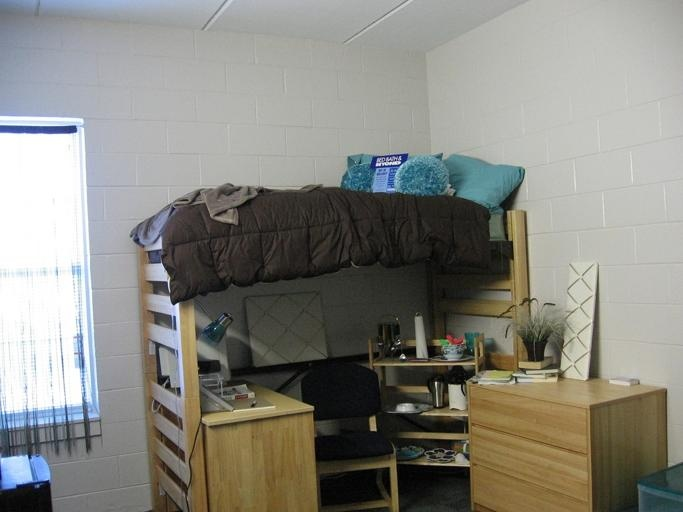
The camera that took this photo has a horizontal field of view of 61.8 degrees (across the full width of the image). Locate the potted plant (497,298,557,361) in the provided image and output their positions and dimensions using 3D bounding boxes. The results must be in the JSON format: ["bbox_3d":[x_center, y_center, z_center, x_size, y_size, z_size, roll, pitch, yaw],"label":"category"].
[{"bbox_3d":[1.238,0.460,3.694,0.356,0.295,0.348,3,-5,-7],"label":"potted plant"}]

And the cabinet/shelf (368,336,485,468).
[{"bbox_3d":[0.600,1.026,4.008,1.045,1.142,0.388,-1,-5,10],"label":"cabinet/shelf"}]

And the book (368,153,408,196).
[{"bbox_3d":[0.333,-0.555,3.980,0.359,0.365,0.050,-9,-33,29],"label":"book"}]

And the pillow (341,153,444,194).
[{"bbox_3d":[0.364,-0.572,3.988,0.666,0.311,0.245,3,14,28],"label":"pillow"}]

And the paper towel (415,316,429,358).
[{"bbox_3d":[0.569,0.580,4.060,0.090,0.316,0.085,0,9,35],"label":"paper towel"}]

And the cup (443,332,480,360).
[{"bbox_3d":[0.833,0.623,3.962,0.237,0.152,0.172,1,-5,0],"label":"cup"}]
